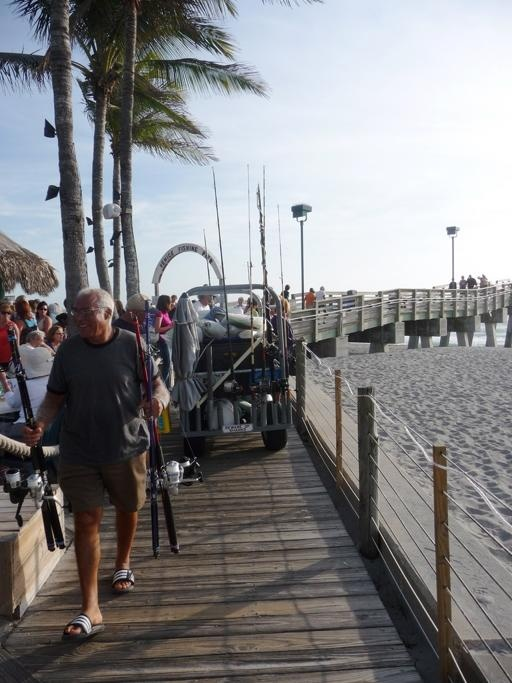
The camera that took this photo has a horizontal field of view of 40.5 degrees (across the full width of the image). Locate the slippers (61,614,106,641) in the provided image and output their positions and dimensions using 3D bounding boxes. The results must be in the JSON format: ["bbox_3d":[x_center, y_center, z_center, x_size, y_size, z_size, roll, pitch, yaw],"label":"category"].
[{"bbox_3d":[-0.801,1.305,3.168,0.080,0.077,0.218,-3,-20,7],"label":"slippers"}]

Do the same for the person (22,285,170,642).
[{"bbox_3d":[-0.728,0.551,3.489,0.646,1.530,0.764,0,1,-7],"label":"person"}]
